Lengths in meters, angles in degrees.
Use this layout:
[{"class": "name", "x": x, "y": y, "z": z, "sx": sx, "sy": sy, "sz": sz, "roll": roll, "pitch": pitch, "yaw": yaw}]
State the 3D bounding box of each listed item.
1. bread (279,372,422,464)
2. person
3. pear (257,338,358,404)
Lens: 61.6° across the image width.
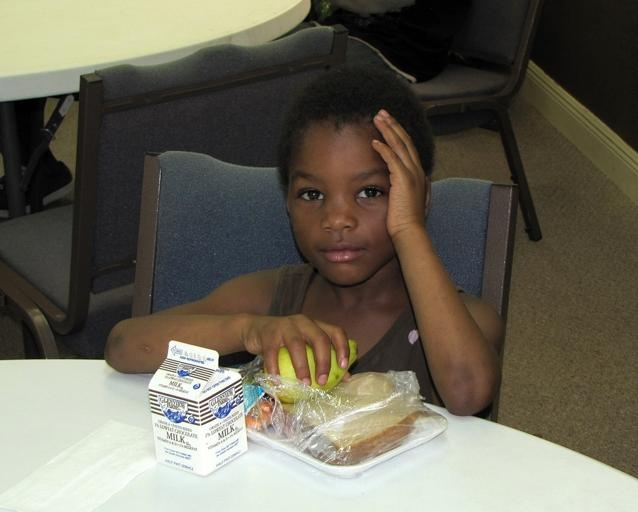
[{"class": "bread", "x": 0.051, "y": 0.221, "z": 0.725, "sx": 0.111, "sy": 0.032, "sz": 0.111, "roll": -14, "pitch": 21, "yaw": -20}, {"class": "person", "x": 0.007, "y": -0.034, "z": 1.152, "sx": 0.845, "sy": 0.649, "sz": 0.468, "roll": 3, "pitch": 7, "yaw": 13}, {"class": "pear", "x": -0.015, "y": 0.185, "z": 0.807, "sx": 0.128, "sy": 0.065, "sz": 0.070, "roll": -23, "pitch": 68, "yaw": -7}]
